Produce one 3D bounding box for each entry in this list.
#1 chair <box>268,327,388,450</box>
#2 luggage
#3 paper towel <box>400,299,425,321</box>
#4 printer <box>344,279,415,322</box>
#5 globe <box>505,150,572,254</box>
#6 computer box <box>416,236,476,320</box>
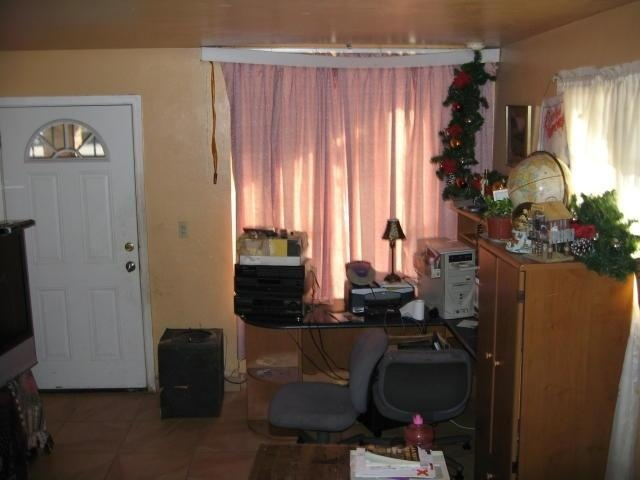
[{"bbox_3d":[0.056,1.068,3.994,0.525,1.002,0.514,1,6,12],"label":"chair"},{"bbox_3d":[-1.049,1.091,4.889,0.502,0.668,0.323,-4,8,-6],"label":"luggage"},{"bbox_3d":[0.701,0.540,4.518,0.173,0.155,0.117,-3,-1,16],"label":"paper towel"},{"bbox_3d":[0.458,0.466,4.627,0.466,0.275,0.321,1,11,-6],"label":"printer"},{"bbox_3d":[1.284,-0.205,3.466,0.377,0.649,0.421,-7,-6,-8],"label":"globe"},{"bbox_3d":[0.967,0.300,4.493,0.336,0.624,0.601,-1,12,-7],"label":"computer box"}]
